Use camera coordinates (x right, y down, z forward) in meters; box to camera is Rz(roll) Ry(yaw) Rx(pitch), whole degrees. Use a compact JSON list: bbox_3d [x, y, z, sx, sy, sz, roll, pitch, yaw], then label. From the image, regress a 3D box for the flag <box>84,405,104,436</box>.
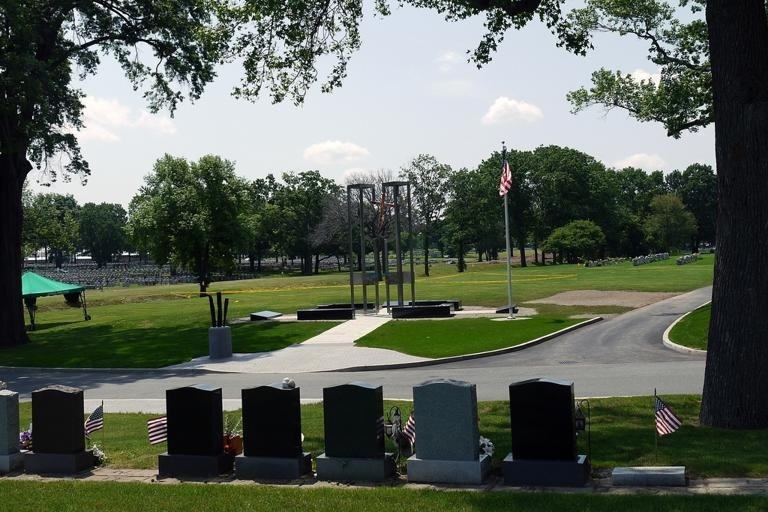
[{"bbox_3d":[-11.020,6.229,46.107,0.701,1.236,0.584,-4,13,-7],"label":"flag"}]
